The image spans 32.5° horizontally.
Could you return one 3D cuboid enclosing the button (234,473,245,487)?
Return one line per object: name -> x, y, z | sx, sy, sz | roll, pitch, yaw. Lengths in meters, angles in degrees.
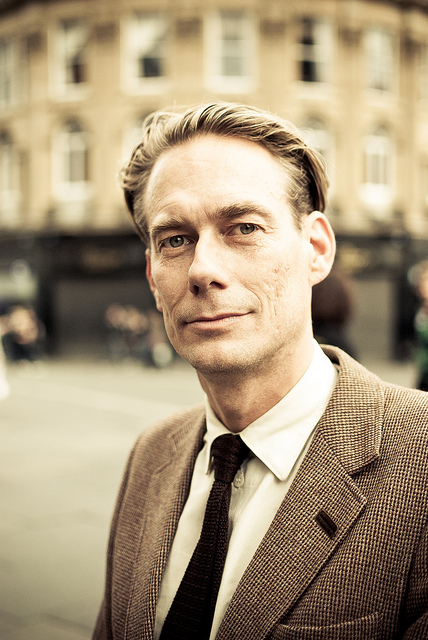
button -> 0.068, 0.437, 2.021 | 0.033, 0.030, 0.008 | -8, -18, 35
